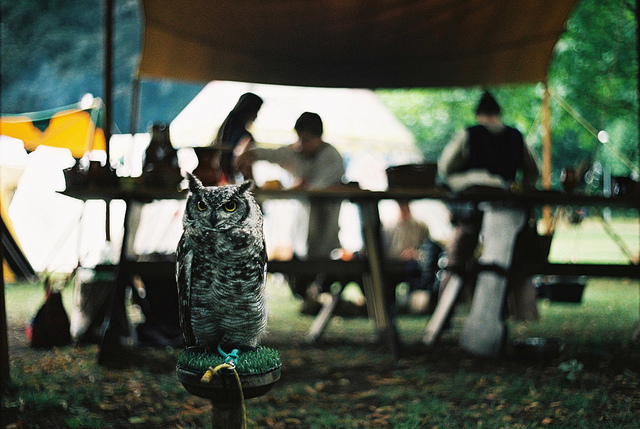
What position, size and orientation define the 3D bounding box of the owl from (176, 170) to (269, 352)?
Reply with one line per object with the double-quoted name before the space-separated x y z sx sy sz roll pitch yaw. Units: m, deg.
"owl" -0.685 0.285 5.421 0.612 1.408 0.788 2 5 4
